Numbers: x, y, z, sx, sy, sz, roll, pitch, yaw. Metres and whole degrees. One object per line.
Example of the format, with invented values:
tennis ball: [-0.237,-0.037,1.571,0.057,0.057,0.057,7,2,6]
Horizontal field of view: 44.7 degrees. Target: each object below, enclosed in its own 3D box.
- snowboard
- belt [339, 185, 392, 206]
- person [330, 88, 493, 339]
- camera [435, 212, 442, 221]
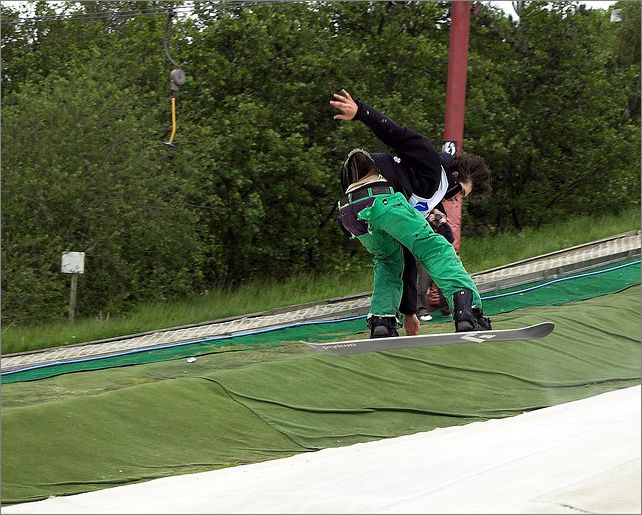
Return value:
snowboard: [0.768,0.617,5.977,1.981,0.088,0.186,-6,19,11]
belt: [0.345,-0.503,6.223,0.476,0.157,0.176,-6,9,15]
person: [0.677,-0.312,6.364,1.115,2.152,1.148,-15,9,9]
camera: [1.049,-0.354,6.924,0.075,0.049,0.057,15,35,19]
